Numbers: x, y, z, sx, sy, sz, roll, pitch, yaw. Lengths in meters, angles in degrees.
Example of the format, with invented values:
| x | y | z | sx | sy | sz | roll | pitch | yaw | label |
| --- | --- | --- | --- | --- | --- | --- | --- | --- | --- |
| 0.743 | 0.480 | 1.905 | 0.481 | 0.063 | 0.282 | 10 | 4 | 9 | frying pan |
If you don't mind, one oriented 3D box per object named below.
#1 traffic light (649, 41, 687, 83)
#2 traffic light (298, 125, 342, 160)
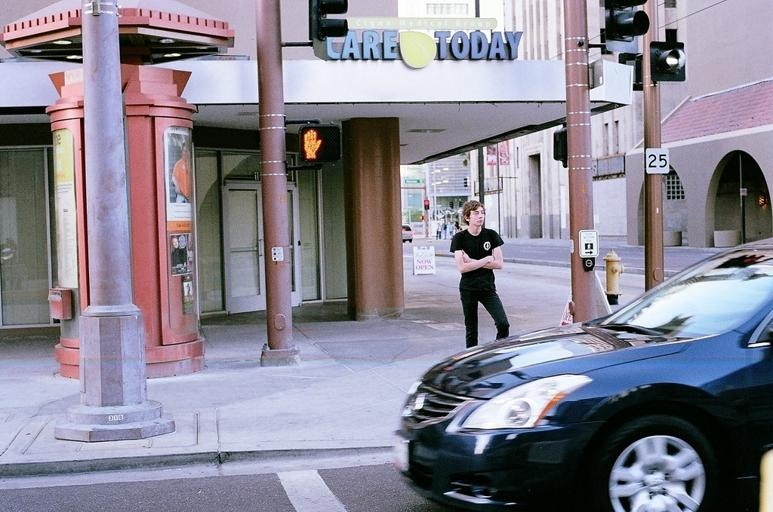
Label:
| x | y | z | sx | sy | sz | roll | pitch | yaw | label |
| --- | --- | --- | --- | --- | --- | --- | --- | --- | --- |
| 4.103 | -2.852 | 13.287 | 0.581 | 0.620 | 0.511 | -1 | 3 | 4 | traffic light |
| -0.960 | -1.647 | 13.241 | 0.539 | 0.477 | 0.208 | 0 | 2 | 4 | traffic light |
